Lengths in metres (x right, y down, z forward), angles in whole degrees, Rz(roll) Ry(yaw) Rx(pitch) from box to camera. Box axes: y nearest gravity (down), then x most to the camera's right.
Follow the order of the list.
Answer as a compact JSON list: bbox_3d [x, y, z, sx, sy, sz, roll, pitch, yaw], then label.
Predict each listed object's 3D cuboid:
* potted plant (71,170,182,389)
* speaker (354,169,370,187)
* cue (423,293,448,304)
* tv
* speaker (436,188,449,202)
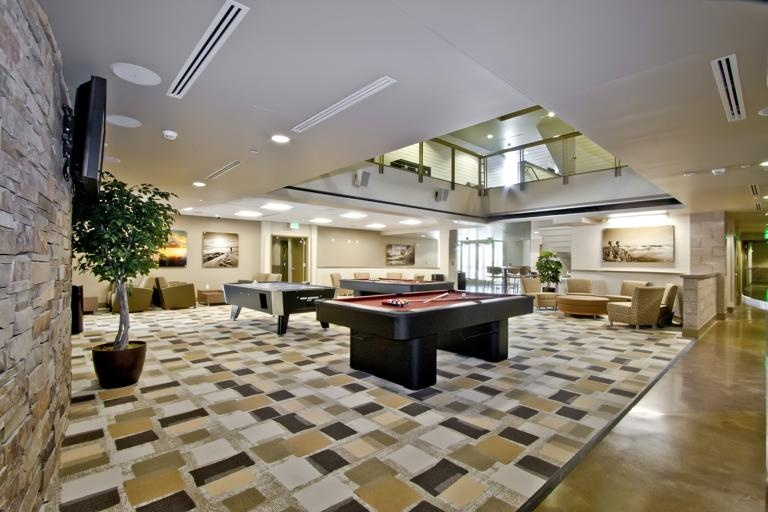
[{"bbox_3d":[-3.080,0.230,4.849,1.145,2.660,2.307,-4,7,-36],"label":"potted plant"},{"bbox_3d":[-0.516,-1.735,8.652,0.224,0.395,0.459,4,2,35],"label":"speaker"},{"bbox_3d":[0.821,0.618,6.168,0.141,0.110,1.124,1,0,24],"label":"cue"},{"bbox_3d":[-2.572,-1.040,3.413,0.179,0.755,1.240,0,-1,-33],"label":"tv"},{"bbox_3d":[1.529,-1.634,10.467,0.386,0.356,0.233,-5,8,-44],"label":"speaker"}]
